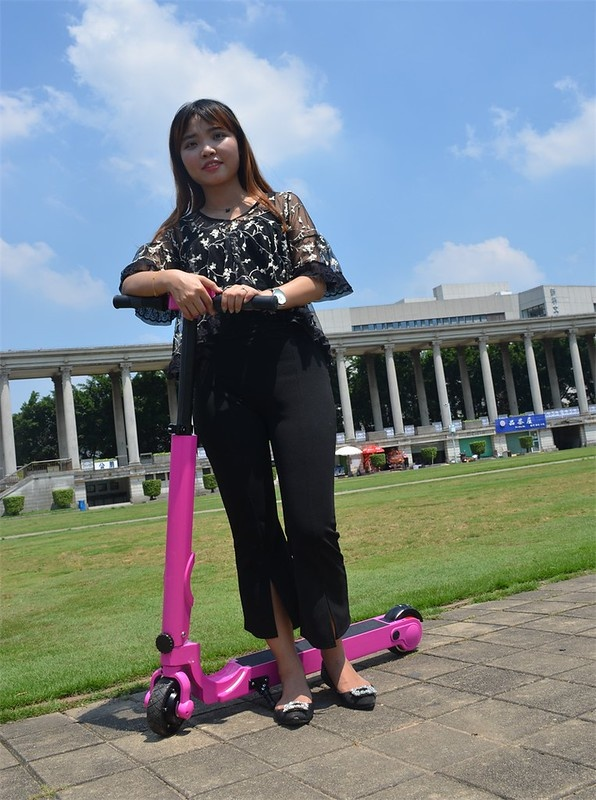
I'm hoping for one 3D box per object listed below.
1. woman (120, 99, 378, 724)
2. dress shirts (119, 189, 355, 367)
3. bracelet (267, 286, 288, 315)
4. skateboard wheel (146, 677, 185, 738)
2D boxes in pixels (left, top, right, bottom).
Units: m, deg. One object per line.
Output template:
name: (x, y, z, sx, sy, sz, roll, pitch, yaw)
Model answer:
woman: (-0.206, -0.007, 2.562, 0.984, 2.527, 0.822, -9, -2, 11)
dress shirts: (-0.227, -0.489, 2.722, 0.900, 0.820, 0.462, -7, -4, -4)
bracelet: (-0.073, -0.347, 2.283, 0.063, 0.094, 0.086, 4, -40, -8)
skateboard wheel: (-0.469, 1.106, 2.277, 0.098, 0.192, 0.125, -7, -4, 13)
